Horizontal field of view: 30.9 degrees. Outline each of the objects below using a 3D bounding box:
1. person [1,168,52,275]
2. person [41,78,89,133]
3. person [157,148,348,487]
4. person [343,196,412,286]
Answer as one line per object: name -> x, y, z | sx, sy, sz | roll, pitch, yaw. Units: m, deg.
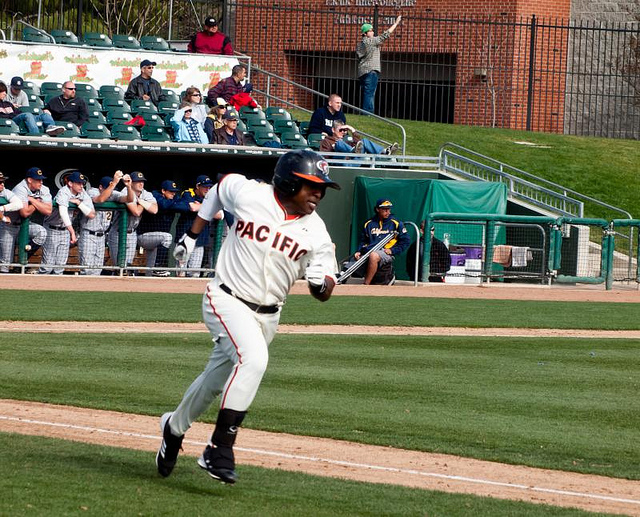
person -> -4.711, -0.651, 18.608 | 0.881, 1.502, 0.422 | -4, 13, -33
person -> -4.817, -2.783, 21.868 | 0.879, 1.279, 0.746 | 0, -20, -7
person -> -0.591, 0.509, 9.769 | 1.404, 2.796, 1.060 | 3, 11, 1
person -> 0.818, -0.275, 19.916 | 0.865, 1.093, 1.983 | 10, 23, 27
